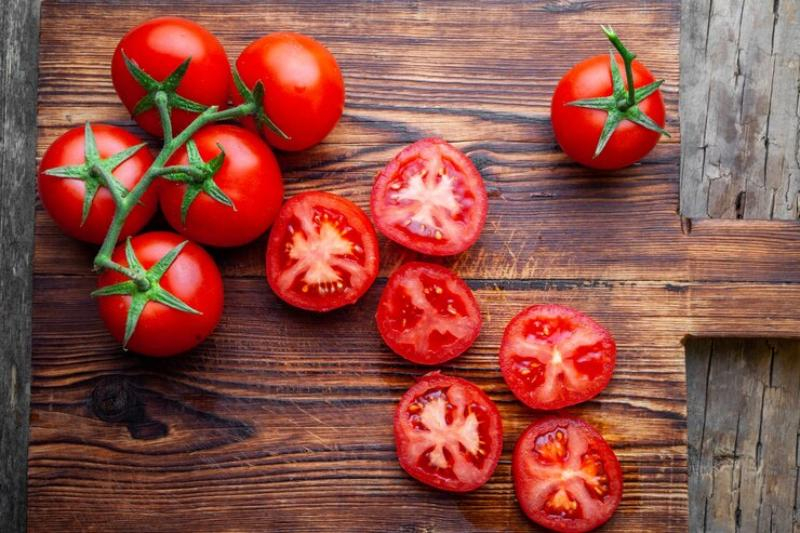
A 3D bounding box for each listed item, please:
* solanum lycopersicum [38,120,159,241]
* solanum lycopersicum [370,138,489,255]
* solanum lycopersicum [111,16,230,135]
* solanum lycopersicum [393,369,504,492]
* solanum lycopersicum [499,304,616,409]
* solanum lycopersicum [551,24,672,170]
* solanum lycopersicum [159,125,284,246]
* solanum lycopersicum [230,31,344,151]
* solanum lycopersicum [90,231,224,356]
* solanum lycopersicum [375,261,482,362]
[{"bbox_3d":[-0.910,-0.247,2.950,0.378,0.357,0.344,-16,92,-9],"label":"solanum lycopersicum"},{"bbox_3d":[0.102,-0.204,2.962,0.366,0.150,0.353,37,77,11],"label":"solanum lycopersicum"},{"bbox_3d":[-0.714,-0.597,2.847,0.346,0.234,0.315,-27,75,-6],"label":"solanum lycopersicum"},{"bbox_3d":[0.147,0.524,2.899,0.352,0.094,0.336,21,74,7],"label":"solanum lycopersicum"},{"bbox_3d":[0.493,0.292,2.917,0.356,0.081,0.323,12,74,5],"label":"solanum lycopersicum"},{"bbox_3d":[0.679,-0.520,2.901,0.320,0.415,0.310,-34,90,6],"label":"solanum lycopersicum"},{"bbox_3d":[-0.548,-0.252,2.829,0.331,0.216,0.363,28,76,9],"label":"solanum lycopersicum"},{"bbox_3d":[-0.350,-0.556,2.873,0.328,0.237,0.334,40,78,12],"label":"solanum lycopersicum"},{"bbox_3d":[-0.697,0.094,2.917,0.391,0.384,0.375,29,82,-2],"label":"solanum lycopersicum"},{"bbox_3d":[0.091,0.153,2.923,0.321,0.089,0.304,19,74,7],"label":"solanum lycopersicum"}]
